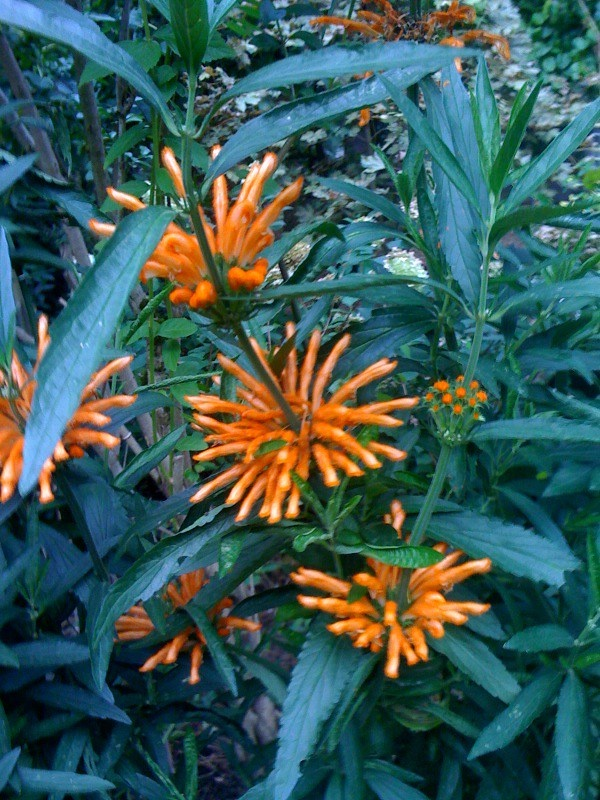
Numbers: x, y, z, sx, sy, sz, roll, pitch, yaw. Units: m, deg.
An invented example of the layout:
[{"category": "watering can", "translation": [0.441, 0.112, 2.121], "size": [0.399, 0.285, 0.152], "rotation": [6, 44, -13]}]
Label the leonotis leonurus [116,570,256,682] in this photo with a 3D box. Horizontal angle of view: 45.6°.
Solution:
[{"category": "leonotis leonurus", "translation": [-0.197, 0.378, 1.236], "size": [0.250, 0.087, 0.224], "rotation": [-1, 36, 8]}]

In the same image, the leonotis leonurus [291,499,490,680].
[{"category": "leonotis leonurus", "translation": [0.117, 0.243, 0.911], "size": [0.270, 0.092, 0.221], "rotation": [3, 26, 6]}]

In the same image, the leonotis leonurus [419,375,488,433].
[{"category": "leonotis leonurus", "translation": [0.193, 0.006, 0.938], "size": [0.086, 0.075, 0.086], "rotation": [2, -6, 6]}]

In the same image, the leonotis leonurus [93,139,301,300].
[{"category": "leonotis leonurus", "translation": [-0.124, -0.181, 0.812], "size": [0.231, 0.176, 0.137], "rotation": [11, -20, 33]}]
